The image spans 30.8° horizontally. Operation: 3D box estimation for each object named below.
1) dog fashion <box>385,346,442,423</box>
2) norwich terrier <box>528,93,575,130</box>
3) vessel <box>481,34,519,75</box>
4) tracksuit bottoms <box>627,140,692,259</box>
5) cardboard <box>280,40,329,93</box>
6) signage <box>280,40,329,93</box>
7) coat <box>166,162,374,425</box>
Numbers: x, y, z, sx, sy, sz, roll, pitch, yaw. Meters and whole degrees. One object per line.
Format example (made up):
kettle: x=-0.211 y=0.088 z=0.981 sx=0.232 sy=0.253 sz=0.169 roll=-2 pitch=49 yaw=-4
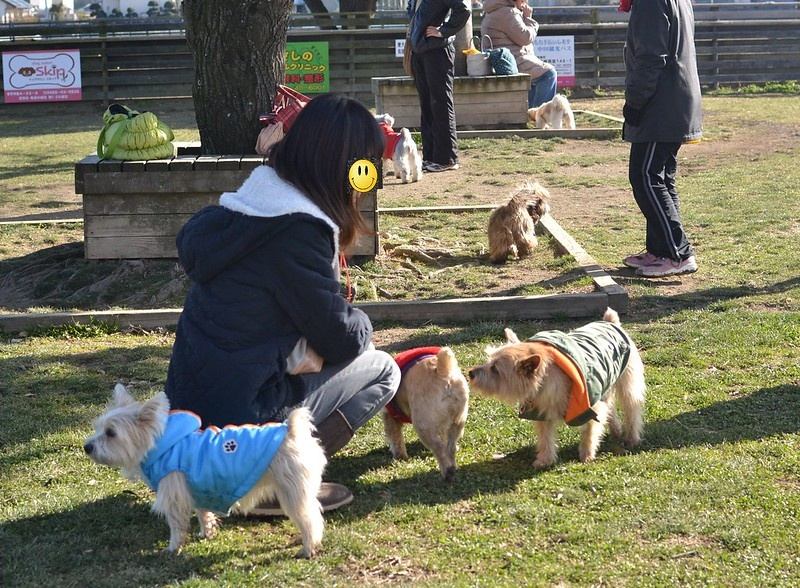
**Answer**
dog fashion: x=0.090 y=0.795 z=13.566 sx=0.494 sy=0.697 sz=0.236 roll=17 pitch=-3 yaw=-16
norwich terrier: x=2.526 y=-2.949 z=23.577 sx=0.350 sy=0.518 sz=1.074 roll=-13 pitch=14 yaw=-16
vessel: x=1.645 y=-3.916 z=23.760 sx=0.599 sy=0.603 sz=1.189 roll=0 pitch=12 yaw=4
tracksuit bottoms: x=2.900 y=-1.233 z=16.251 sx=0.543 sy=1.561 sz=0.586 roll=-1 pitch=5 yaw=-37
cardboard: x=-1.928 y=-4.713 z=30.328 sx=0.903 sy=1.093 sz=0.555 roll=-1 pitch=11 yaw=-2
signage: x=-1.922 y=-4.715 z=30.337 sx=0.910 sy=1.093 sz=0.588 roll=-2 pitch=11 yaw=-4
coat: x=-1.272 y=-0.006 z=12.985 sx=1.651 sy=2.204 sz=0.592 roll=-3 pitch=11 yaw=-12
